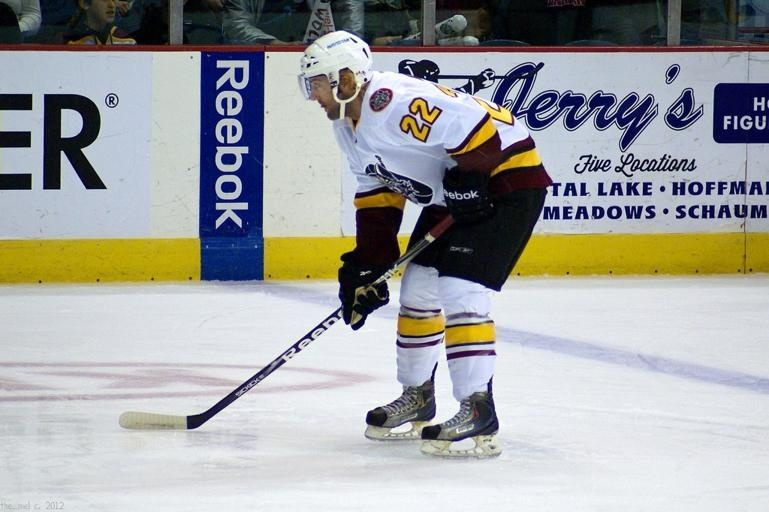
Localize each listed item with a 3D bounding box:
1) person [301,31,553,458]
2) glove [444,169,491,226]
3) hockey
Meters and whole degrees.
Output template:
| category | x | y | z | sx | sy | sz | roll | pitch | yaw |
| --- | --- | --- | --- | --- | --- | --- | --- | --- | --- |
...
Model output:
| category | x | y | z | sx | sy | sz | roll | pitch | yaw |
| --- | --- | --- | --- | --- | --- | --- | --- | --- | --- |
| person | 0.165 | -0.077 | 5.932 | 1.054 | 1.964 | 0.581 | 7 | 12 | 19 |
| glove | 0.382 | -0.282 | 5.770 | 0.226 | 0.235 | 0.280 | -7 | 8 | 3 |
| hockey | -0.627 | 0.397 | 7.045 | 1.879 | 0.151 | 0.221 | -33 | 47 | -17 |
